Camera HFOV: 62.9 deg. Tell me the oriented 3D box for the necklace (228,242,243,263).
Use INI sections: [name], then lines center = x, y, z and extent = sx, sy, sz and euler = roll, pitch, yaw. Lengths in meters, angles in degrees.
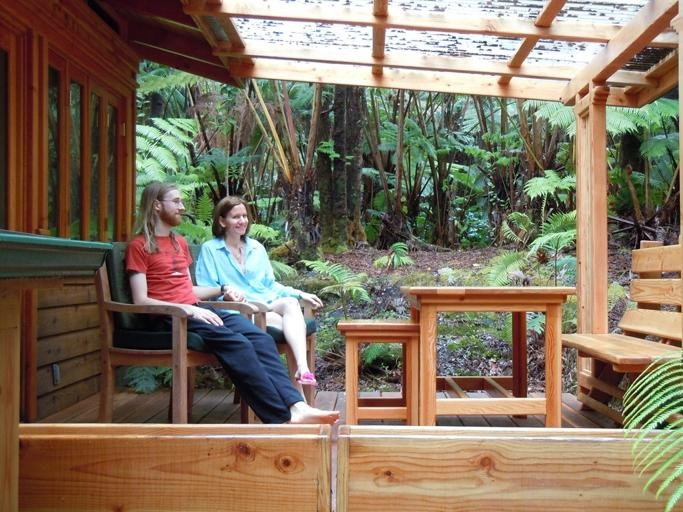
[necklace]
center = -0.724, -0.021, 3.898
extent = 0.100, 0.131, 0.039
euler = -3, -6, -24
